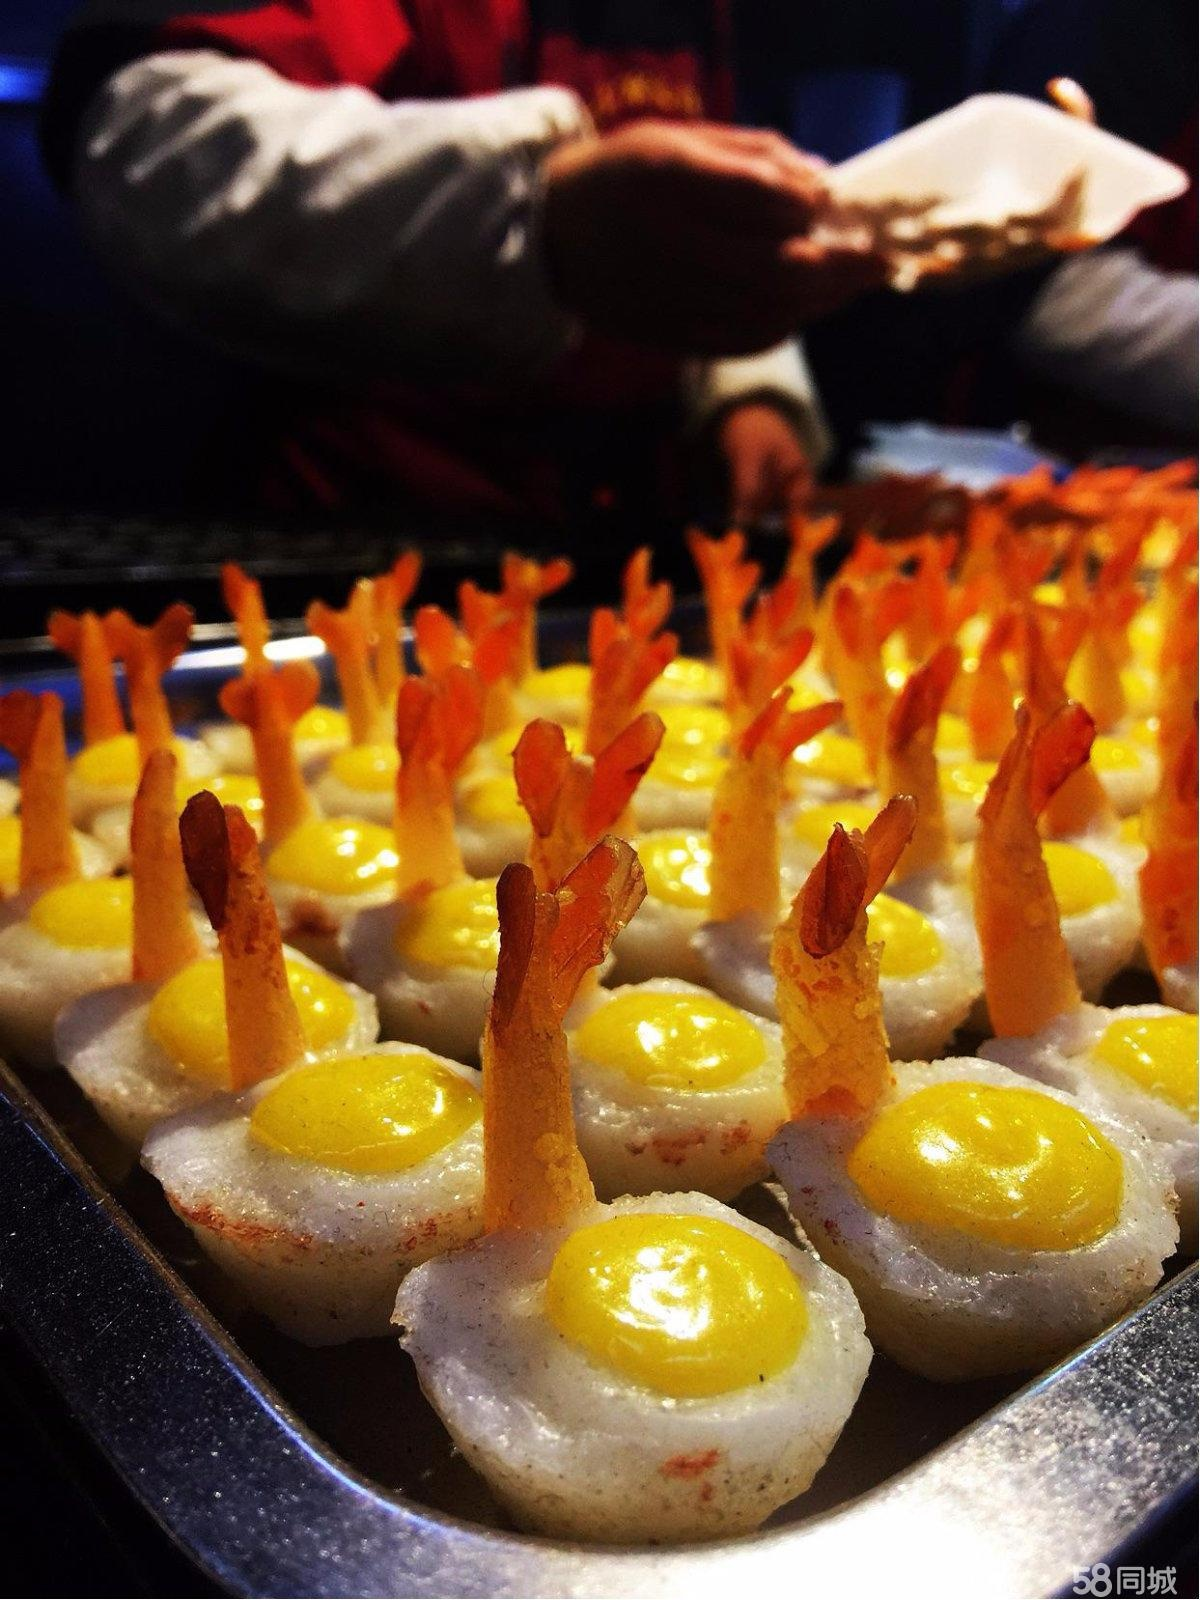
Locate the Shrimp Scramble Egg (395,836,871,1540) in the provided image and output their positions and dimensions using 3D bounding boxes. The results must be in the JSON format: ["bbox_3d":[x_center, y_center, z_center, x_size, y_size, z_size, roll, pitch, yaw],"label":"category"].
[{"bbox_3d":[0.019,0.219,0.830,0.224,0.270,0.219,-16,30,-27],"label":"Shrimp Scramble Egg"}]

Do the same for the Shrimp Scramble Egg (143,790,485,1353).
[{"bbox_3d":[-0.152,0.149,0.966,0.217,0.285,0.210,-16,29,-20],"label":"Shrimp Scramble Egg"}]

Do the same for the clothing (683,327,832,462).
[{"bbox_3d":[0.287,-0.702,2.844,0.184,0.211,0.230,-26,19,-23],"label":"clothing"}]

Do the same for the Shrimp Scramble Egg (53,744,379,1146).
[{"bbox_3d":[-0.258,0.103,1.092,0.219,0.263,0.185,10,30,10],"label":"Shrimp Scramble Egg"}]
